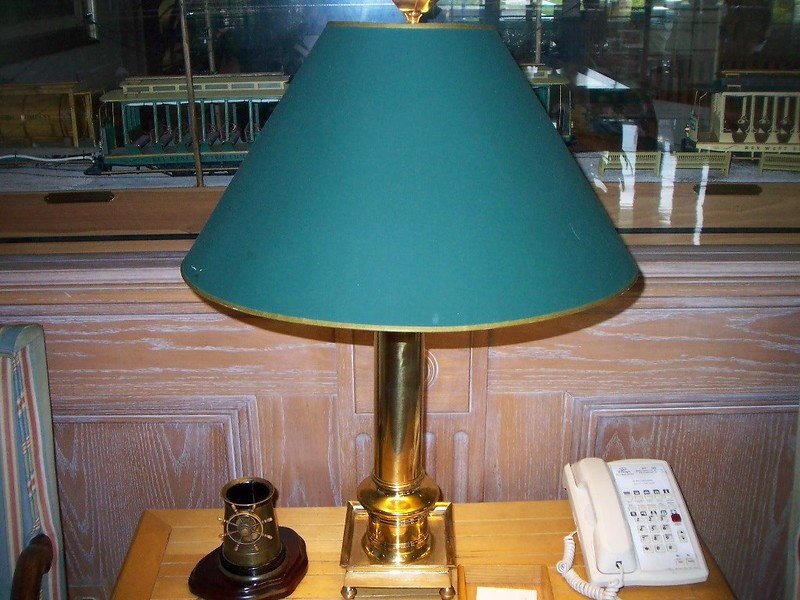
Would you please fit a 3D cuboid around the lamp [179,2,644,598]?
[{"bbox_3d":[0.009,-0.072,1.221,0.648,0.911,0.678,-1,14,-11],"label":"lamp"}]
